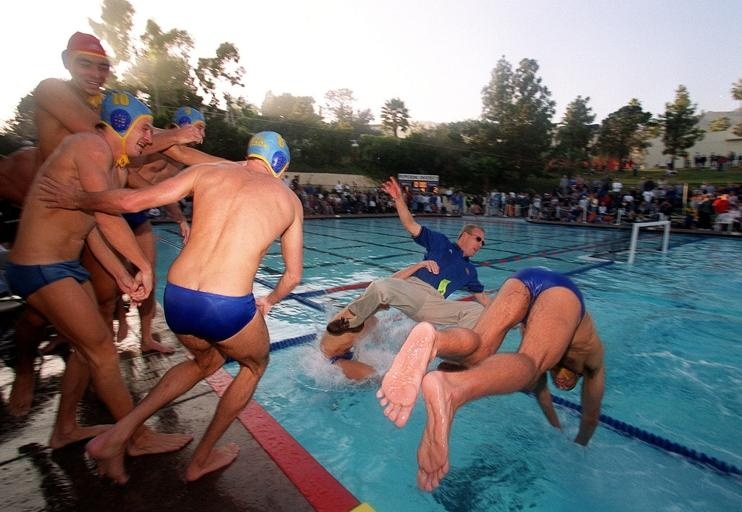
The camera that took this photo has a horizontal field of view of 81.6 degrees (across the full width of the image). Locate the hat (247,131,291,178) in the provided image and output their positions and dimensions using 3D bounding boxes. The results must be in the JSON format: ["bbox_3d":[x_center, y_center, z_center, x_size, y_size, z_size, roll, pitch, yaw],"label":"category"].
[{"bbox_3d":[-0.662,-0.652,2.793,0.260,0.287,0.208,0,13,-13],"label":"hat"}]

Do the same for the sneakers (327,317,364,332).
[{"bbox_3d":[-0.191,0.664,4.095,0.394,0.122,0.123,0,36,-18],"label":"sneakers"}]

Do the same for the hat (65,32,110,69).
[{"bbox_3d":[-2.103,-1.522,3.184,0.291,0.245,0.144,-3,14,-26],"label":"hat"}]
